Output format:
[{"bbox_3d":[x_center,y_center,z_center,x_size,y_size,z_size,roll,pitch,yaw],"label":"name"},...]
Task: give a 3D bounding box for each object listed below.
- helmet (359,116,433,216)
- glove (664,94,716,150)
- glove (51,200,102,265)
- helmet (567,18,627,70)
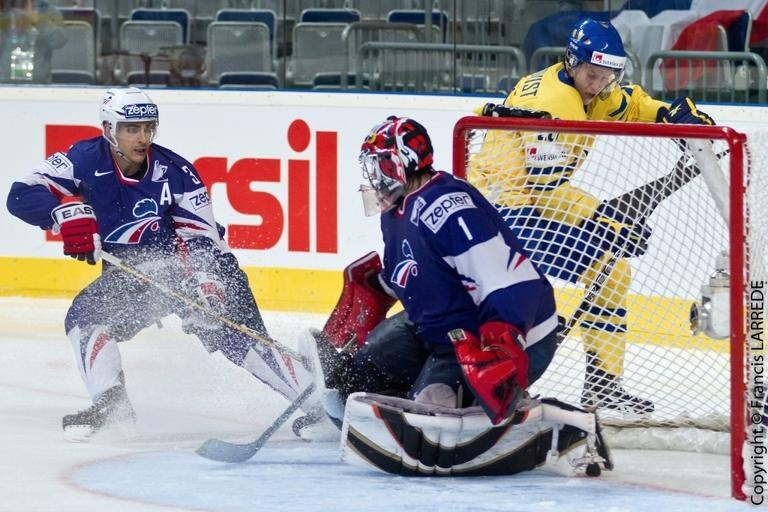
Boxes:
[{"bbox_3d":[0.069,-0.397,5.095,0.343,0.404,0.332,-9,5,6],"label":"helmet"},{"bbox_3d":[1.370,-0.592,5.409,0.197,0.240,0.426,2,6,6],"label":"glove"},{"bbox_3d":[-1.407,-0.110,5.580,0.186,0.297,0.127,-13,2,-14],"label":"glove"},{"bbox_3d":[0.963,-0.974,5.528,0.209,0.269,0.258,-3,23,-27],"label":"helmet"}]
